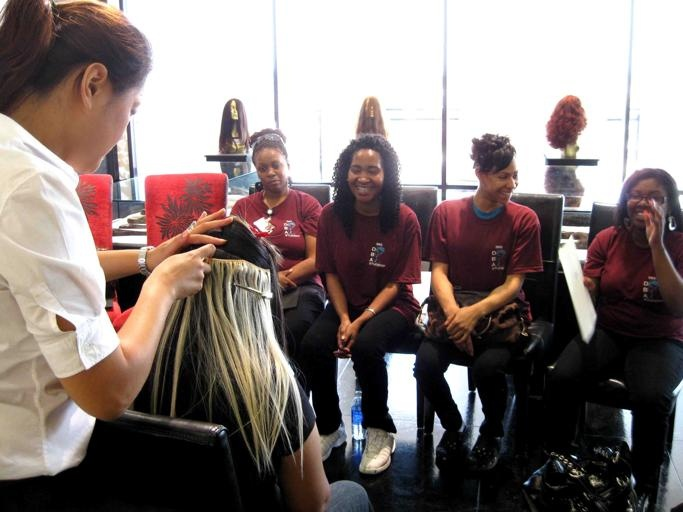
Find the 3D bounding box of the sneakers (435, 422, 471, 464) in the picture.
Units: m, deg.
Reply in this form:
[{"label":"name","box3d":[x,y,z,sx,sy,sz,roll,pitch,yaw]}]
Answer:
[{"label":"sneakers","box3d":[0.530,0.863,2.504,0.149,0.146,0.320,2,8,14]}]

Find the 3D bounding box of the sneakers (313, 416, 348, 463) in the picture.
[{"label":"sneakers","box3d":[-0.037,0.871,2.495,0.107,0.148,0.323,-2,-5,14]}]

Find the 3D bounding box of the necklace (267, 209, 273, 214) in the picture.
[{"label":"necklace","box3d":[-0.412,-0.255,3.025,0.026,0.027,0.013,7,0,16]}]

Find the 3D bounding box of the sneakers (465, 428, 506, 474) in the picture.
[{"label":"sneakers","box3d":[0.635,0.877,2.349,0.092,0.150,0.173,8,11,43]}]

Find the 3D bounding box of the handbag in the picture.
[{"label":"handbag","box3d":[0.629,0.314,2.487,0.361,0.136,0.282,0,9,19]}]
